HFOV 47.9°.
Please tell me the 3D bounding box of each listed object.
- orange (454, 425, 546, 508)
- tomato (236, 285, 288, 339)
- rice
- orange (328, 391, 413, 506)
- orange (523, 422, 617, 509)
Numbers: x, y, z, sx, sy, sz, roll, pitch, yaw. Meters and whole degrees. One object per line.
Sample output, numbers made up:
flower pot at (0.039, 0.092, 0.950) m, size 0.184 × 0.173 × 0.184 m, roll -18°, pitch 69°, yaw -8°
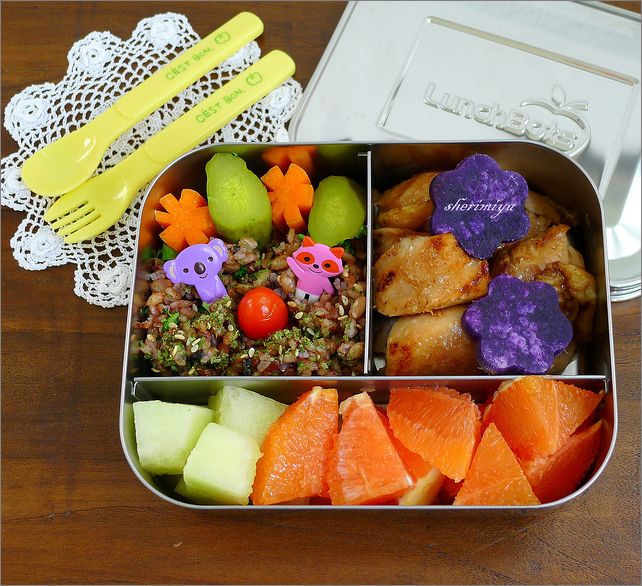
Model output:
orange at (0.441, 0.438, 1.839) m, size 0.208 × 0.073 × 0.200 m, roll 1°, pitch 80°, yaw -1°
tomato at (-0.168, 0.057, 2.021) m, size 0.130 × 0.098 × 0.136 m, roll 1°, pitch 84°, yaw 0°
rice at (-0.373, -0.006, 2.175) m, size 0.505 × 0.141 × 0.368 m, roll 13°, pitch 99°, yaw 38°
orange at (0.089, 0.427, 1.867) m, size 0.212 × 0.083 × 0.281 m, roll -26°, pitch 81°, yaw -6°
orange at (0.643, 0.449, 1.881) m, size 0.150 × 0.069 × 0.207 m, roll 29°, pitch 104°, yaw -17°
